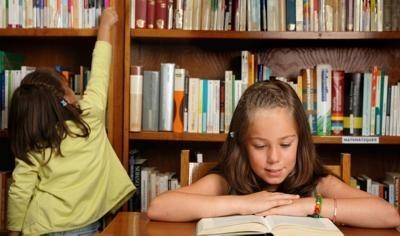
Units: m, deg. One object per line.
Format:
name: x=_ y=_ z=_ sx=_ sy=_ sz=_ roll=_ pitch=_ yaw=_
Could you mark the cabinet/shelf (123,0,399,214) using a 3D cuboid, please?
cabinet/shelf: x=0.420 y=-0.100 z=2.890 sx=1.492 sy=1.320 sz=0.423 roll=-1 pitch=4 yaw=-2
